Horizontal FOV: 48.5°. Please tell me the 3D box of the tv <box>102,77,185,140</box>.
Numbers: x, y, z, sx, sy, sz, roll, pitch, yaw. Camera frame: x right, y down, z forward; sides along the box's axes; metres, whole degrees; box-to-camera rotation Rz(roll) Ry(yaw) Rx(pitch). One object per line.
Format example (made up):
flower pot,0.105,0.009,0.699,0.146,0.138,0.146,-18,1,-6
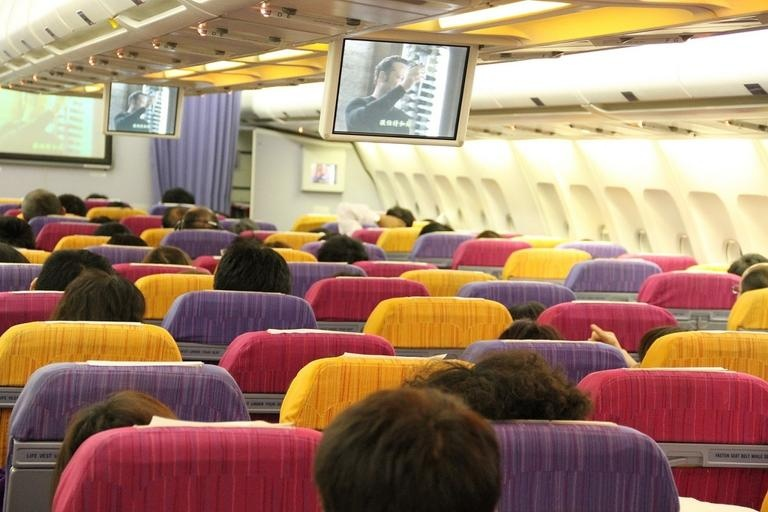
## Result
tv,-3.694,-2.274,12.921,1.118,0.669,0.142,0,10,-21
